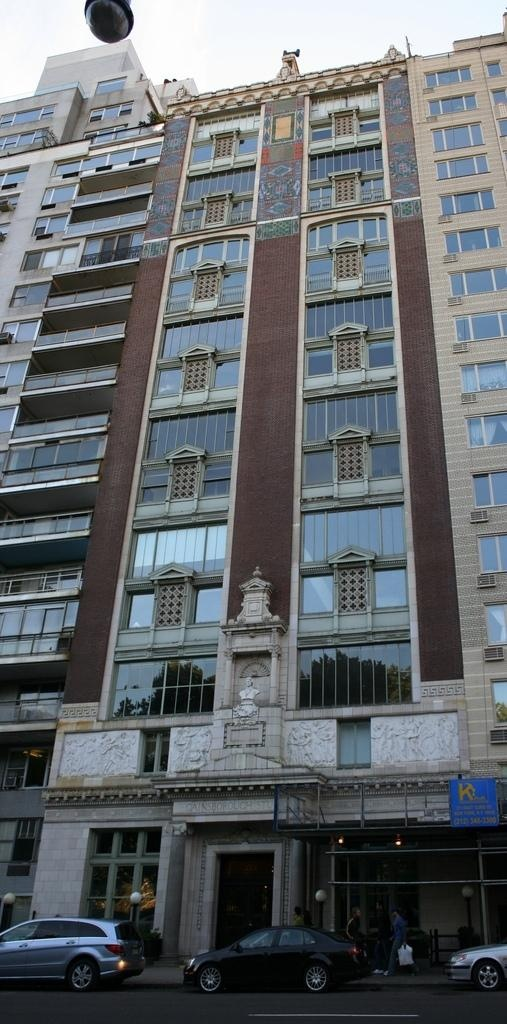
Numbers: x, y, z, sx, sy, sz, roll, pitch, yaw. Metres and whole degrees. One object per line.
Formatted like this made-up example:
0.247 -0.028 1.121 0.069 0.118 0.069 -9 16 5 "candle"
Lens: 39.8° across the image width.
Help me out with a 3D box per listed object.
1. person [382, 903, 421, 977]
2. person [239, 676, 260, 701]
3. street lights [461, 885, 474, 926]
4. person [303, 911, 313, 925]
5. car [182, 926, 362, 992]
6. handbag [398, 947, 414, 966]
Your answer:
3.534 10.491 17.123 0.674 1.419 1.790 -1 -32 10 "person"
-0.176 6.521 25.769 0.739 1.014 0.448 4 -29 1 "person"
6.349 11.613 20.704 0.336 1.063 1.696 -4 -33 15 "street lights"
1.511 11.606 20.075 0.194 0.396 1.153 -1 -33 9 "person"
0.264 8.247 12.817 2.771 1.106 1.499 -7 -41 12 "car"
3.527 10.361 16.421 0.395 0.392 0.327 -14 -35 28 "handbag"
